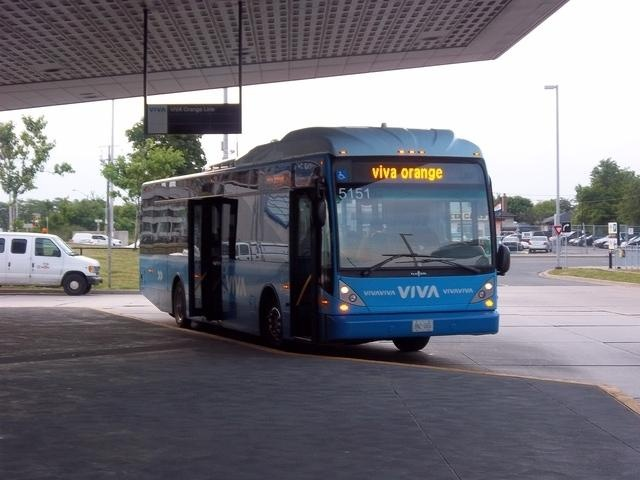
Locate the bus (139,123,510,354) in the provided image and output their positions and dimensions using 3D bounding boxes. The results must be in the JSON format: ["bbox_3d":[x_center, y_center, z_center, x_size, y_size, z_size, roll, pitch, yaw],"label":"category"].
[{"bbox_3d":[-0.913,0.059,15.584,3.923,3.856,12.488,0,-1,-24],"label":"bus"}]
